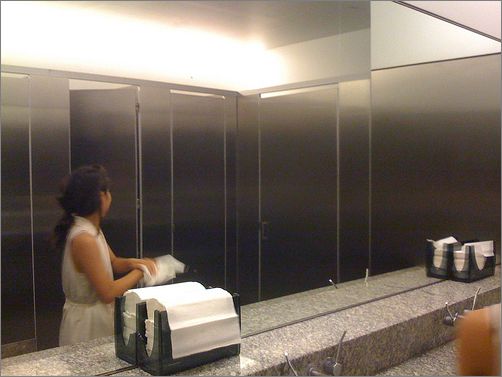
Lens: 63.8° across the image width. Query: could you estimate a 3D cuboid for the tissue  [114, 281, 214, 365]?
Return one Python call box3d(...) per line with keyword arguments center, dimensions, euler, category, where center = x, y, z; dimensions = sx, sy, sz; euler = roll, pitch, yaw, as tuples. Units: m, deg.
box3d(center=(-0.275, 0.336, 1.242), dimensions=(0.334, 0.250, 0.190), euler=(-2, 3, -42), category="tissue ")
